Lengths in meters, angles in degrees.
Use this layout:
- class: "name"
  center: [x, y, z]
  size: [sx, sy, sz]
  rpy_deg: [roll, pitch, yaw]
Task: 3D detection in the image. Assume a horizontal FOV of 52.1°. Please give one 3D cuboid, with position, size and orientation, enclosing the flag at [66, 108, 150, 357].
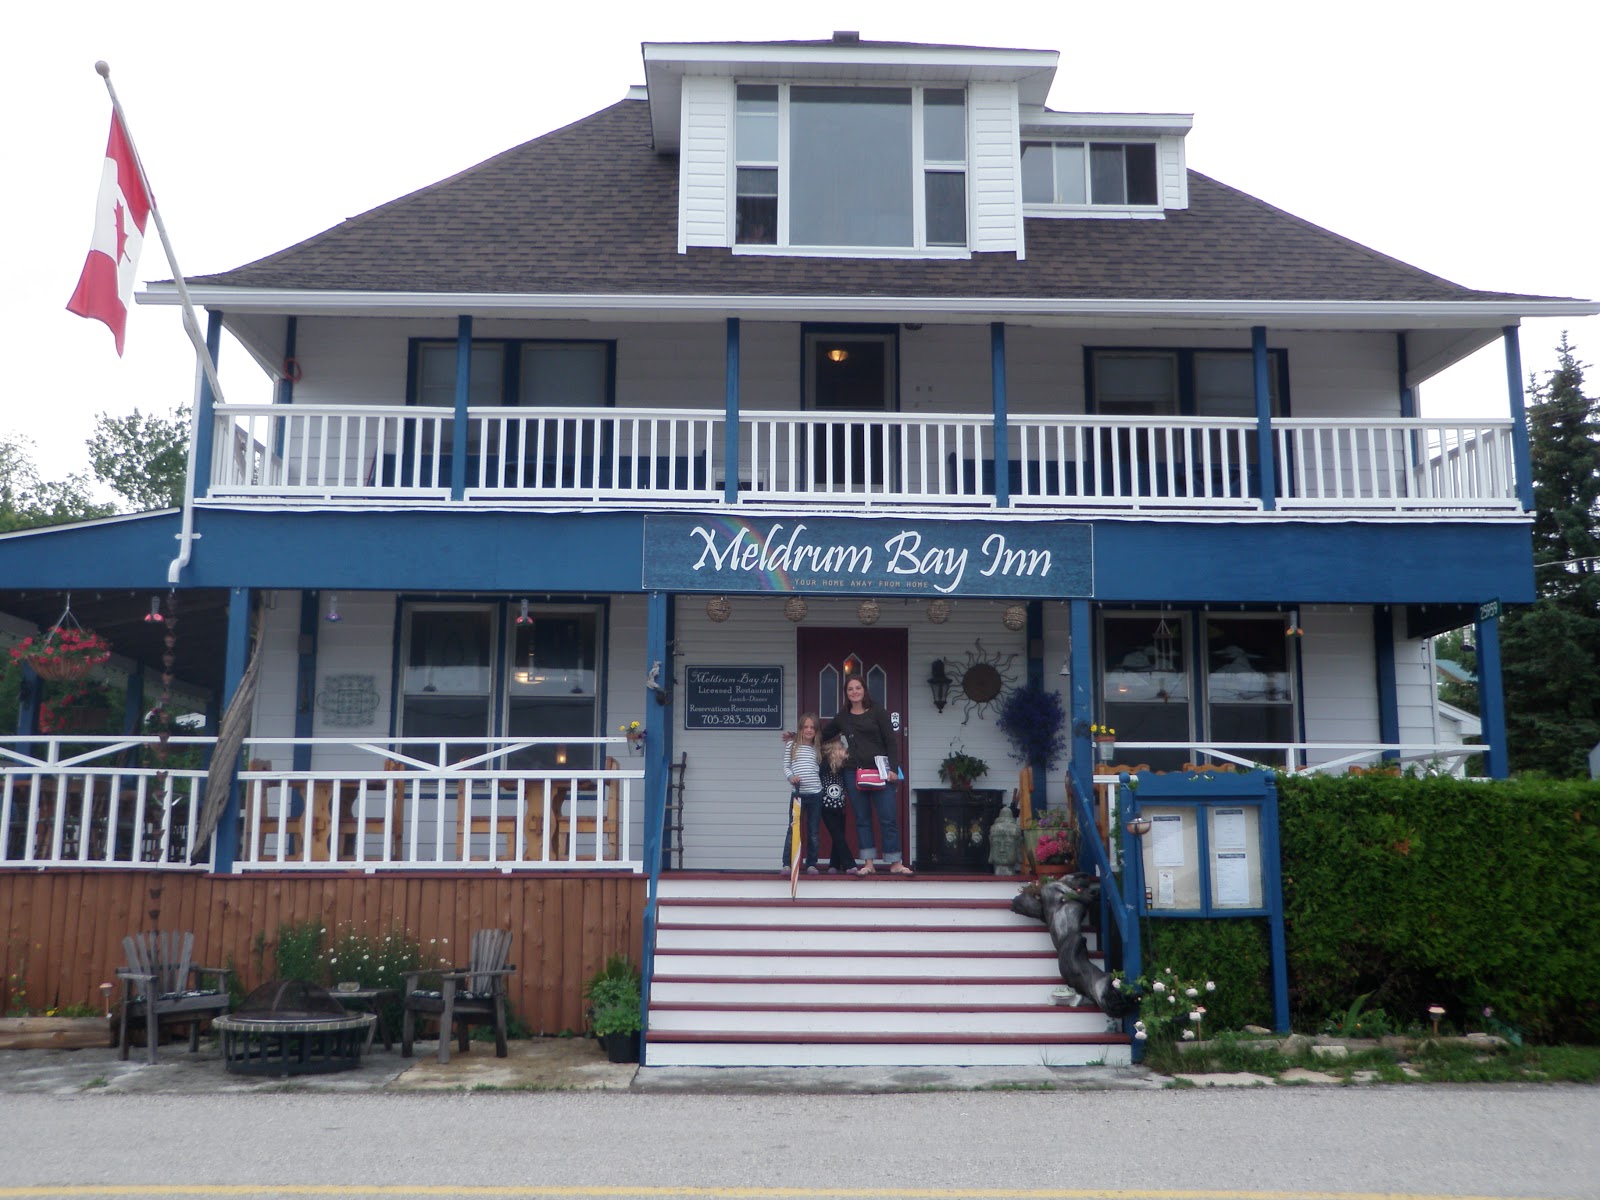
- class: "flag"
  center: [-6.954, -3.684, 16.654]
  size: [0.656, 2.505, 0.947]
  rpy_deg: [5, -11, -23]

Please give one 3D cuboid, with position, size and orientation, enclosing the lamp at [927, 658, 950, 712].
- class: "lamp"
  center: [1.745, 1.095, 20.539]
  size: [0.266, 0.667, 0.114]
  rpy_deg: [2, -11, -10]

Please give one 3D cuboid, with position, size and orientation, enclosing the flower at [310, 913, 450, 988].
- class: "flower"
  center: [-4.332, 3.653, 16.740]
  size: [0.785, 0.469, 0.738]
  rpy_deg: [6, -5, -43]

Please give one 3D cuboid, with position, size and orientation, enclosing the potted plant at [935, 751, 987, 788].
- class: "potted plant"
  center: [2.000, 2.125, 20.186]
  size: [0.426, 0.319, 0.437]
  rpy_deg: [4, -9, -14]

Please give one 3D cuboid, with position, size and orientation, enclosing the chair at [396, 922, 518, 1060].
- class: "chair"
  center: [-3.482, 3.951, 16.425]
  size: [1.176, 1.630, 1.225]
  rpy_deg: [13, -21, -43]

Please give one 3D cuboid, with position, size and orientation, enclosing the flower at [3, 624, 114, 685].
- class: "flower"
  center: [-8.182, 0.684, 18.843]
  size: [1.252, 0.720, 1.274]
  rpy_deg: [1, -6, 23]

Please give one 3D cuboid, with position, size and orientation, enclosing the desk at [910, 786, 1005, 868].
- class: "desk"
  center: [1.912, 2.792, 19.790]
  size: [0.925, 0.870, 0.369]
  rpy_deg: [0, -4, -2]

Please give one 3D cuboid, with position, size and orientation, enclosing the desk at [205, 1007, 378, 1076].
- class: "desk"
  center: [-4.654, 4.139, 15.181]
  size: [1.363, 0.515, 0.733]
  rpy_deg: [3, -11, -16]

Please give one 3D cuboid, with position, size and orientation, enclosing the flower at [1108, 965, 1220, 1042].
- class: "flower"
  center: [3.458, 3.884, 15.955]
  size: [0.732, 0.549, 0.822]
  rpy_deg: [2, 0, 37]
